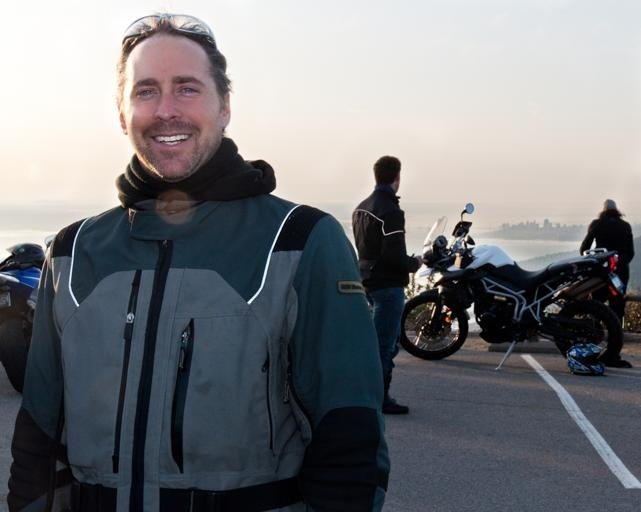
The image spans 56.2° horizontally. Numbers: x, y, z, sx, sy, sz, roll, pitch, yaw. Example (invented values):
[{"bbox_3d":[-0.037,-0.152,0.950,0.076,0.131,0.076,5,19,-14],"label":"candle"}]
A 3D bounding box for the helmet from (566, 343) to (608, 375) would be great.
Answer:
[{"bbox_3d":[3.350,1.310,7.520,0.409,0.375,0.330,-6,-4,18],"label":"helmet"}]

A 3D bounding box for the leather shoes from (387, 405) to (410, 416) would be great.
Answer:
[{"bbox_3d":[0.723,1.456,5.637,0.238,0.098,0.088,0,5,-1],"label":"leather shoes"}]

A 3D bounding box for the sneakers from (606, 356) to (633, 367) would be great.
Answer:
[{"bbox_3d":[3.992,1.447,7.987,0.252,0.092,0.184,1,0,-10],"label":"sneakers"}]
